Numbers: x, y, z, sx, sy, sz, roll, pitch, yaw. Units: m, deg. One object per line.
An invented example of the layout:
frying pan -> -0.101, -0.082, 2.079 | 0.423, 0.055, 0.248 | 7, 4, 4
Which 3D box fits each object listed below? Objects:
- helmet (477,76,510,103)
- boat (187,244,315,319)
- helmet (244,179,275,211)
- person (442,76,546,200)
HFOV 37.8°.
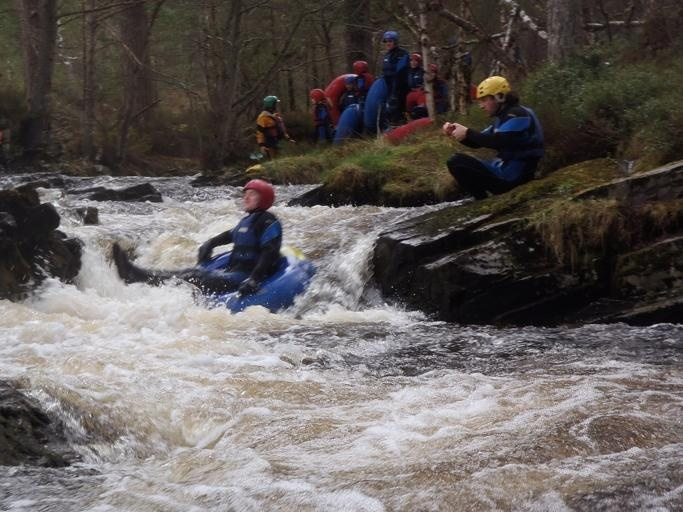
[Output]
helmet -> 2.356, -2.650, 15.752 | 0.566, 0.356, 0.360 | -17, 16, 17
boat -> -0.995, 0.421, 15.184 | 1.284, 0.400, 1.292 | -4, 21, 23
helmet -> -1.335, -0.982, 15.809 | 0.551, 0.448, 0.452 | 6, 3, -38
person -> 2.418, -1.859, 15.618 | 1.449, 1.913, 0.734 | 1, 7, 5
